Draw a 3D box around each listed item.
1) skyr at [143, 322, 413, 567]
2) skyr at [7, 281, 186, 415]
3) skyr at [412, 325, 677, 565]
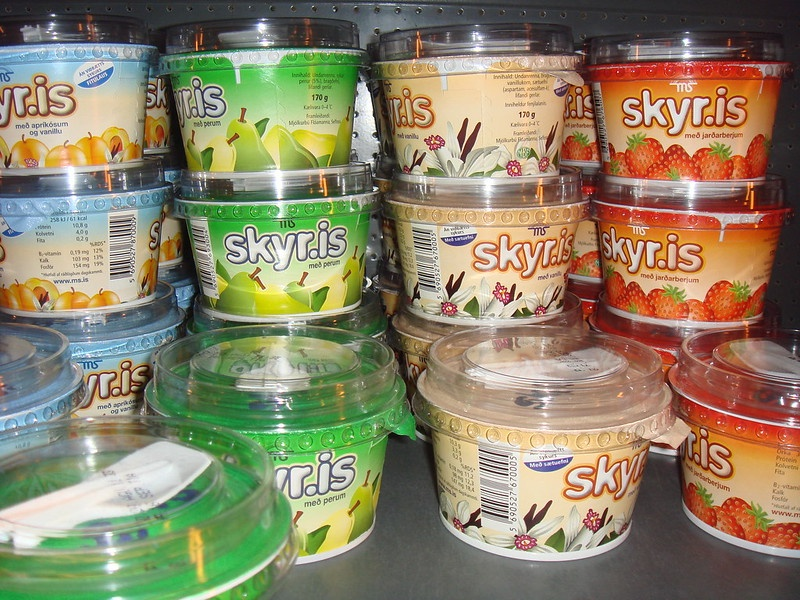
[{"bbox_3d":[-0.202,0.276,1.056,0.396,0.253,0.399,-8,-7,38],"label":"skyr"},{"bbox_3d":[-0.590,0.070,1.223,0.238,0.152,0.241,5,17,10],"label":"skyr"},{"bbox_3d":[0.257,0.237,1.136,0.473,0.294,0.448,-8,13,-37],"label":"skyr"}]
